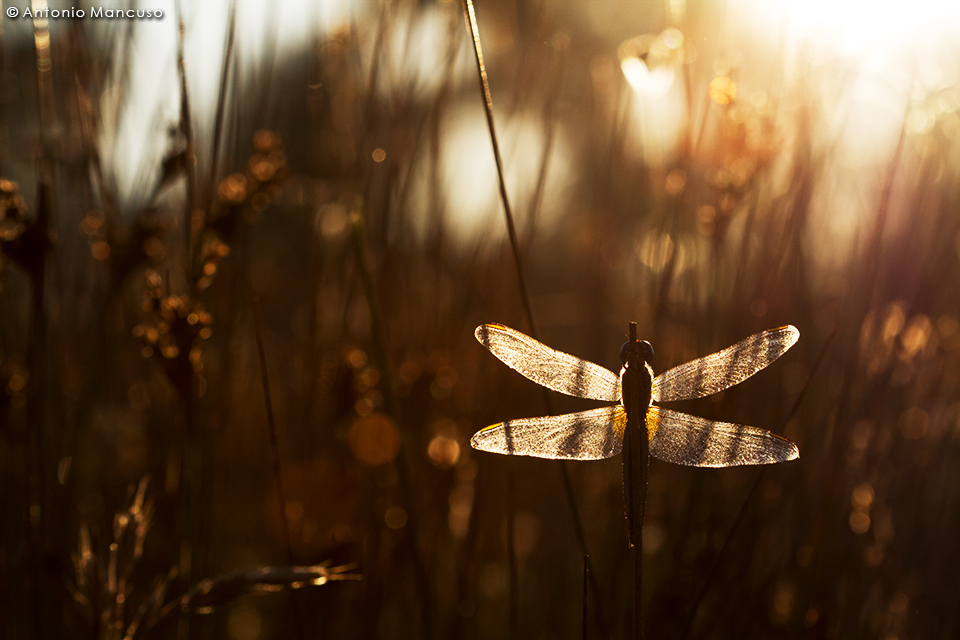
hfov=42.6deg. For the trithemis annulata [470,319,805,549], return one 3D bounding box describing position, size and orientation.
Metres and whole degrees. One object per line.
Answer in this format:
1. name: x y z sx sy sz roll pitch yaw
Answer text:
1. trithemis annulata: 0.231 0.158 1.821 0.481 0.339 0.133 7 -20 -12
